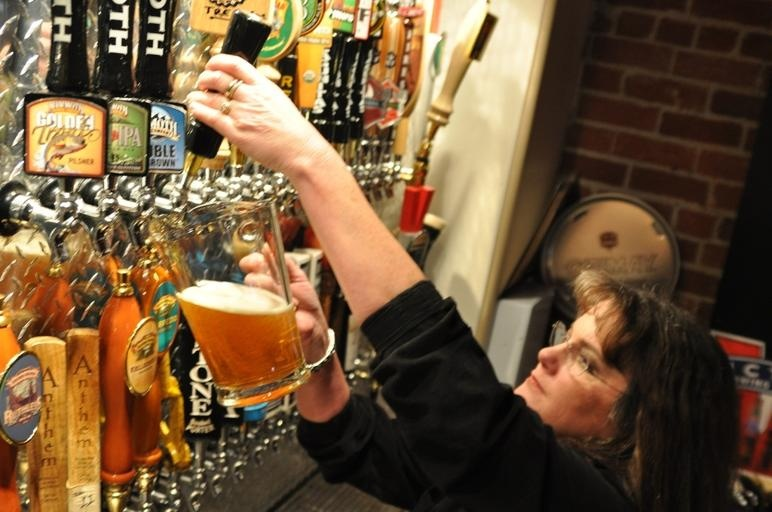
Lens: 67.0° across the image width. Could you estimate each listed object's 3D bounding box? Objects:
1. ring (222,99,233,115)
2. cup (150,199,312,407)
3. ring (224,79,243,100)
[{"bbox_3d":[-0.265,-0.245,0.956,0.016,0.021,0.022,10,8,-37],"label":"ring"},{"bbox_3d":[-0.266,0.049,1.103,0.272,0.265,0.413,-12,35,-9],"label":"cup"},{"bbox_3d":[-0.254,-0.275,0.952,0.011,0.029,0.029,31,2,4],"label":"ring"}]
